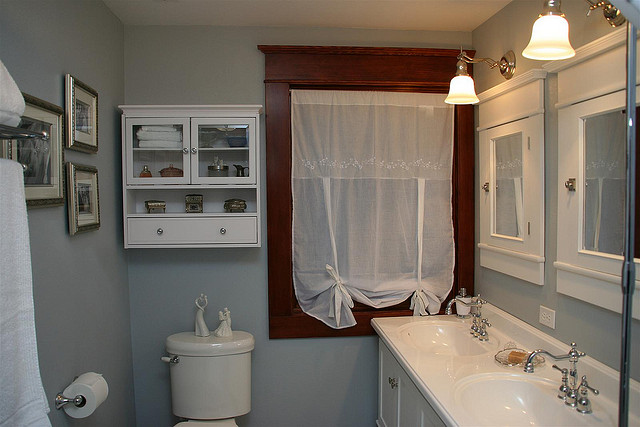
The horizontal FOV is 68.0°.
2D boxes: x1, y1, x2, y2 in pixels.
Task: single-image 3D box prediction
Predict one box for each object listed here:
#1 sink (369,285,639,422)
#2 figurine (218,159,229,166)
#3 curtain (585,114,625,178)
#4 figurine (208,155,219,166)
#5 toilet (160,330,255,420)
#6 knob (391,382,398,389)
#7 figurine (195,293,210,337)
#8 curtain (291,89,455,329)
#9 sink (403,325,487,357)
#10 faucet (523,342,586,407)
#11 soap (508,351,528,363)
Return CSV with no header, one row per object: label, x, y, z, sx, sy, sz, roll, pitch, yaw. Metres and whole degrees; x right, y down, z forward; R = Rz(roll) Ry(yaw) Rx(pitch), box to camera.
sink,0.942,0.974,2.781,0.949,0.847,1.268,-4,4,-13
figurine,-0.664,-0.341,3.156,0.038,0.037,0.040,2,7,25
curtain,1.474,-0.310,2.441,0.201,0.389,0.014,-2,5,7
figurine,-0.714,-0.349,3.143,0.065,0.063,0.026,-4,4,-14
toilet,-0.755,1.070,3.185,0.556,0.436,0.461,0,-3,-8
knob,0.454,1.050,2.900,0.036,0.010,0.028,0,1,18
figurine,-0.829,0.690,3.259,0.101,0.263,0.175,-4,4,-15
curtain,0.326,-0.068,3.312,1.570,2.274,0.176,0,1,-4
sink,0.777,0.818,3.002,0.453,0.126,0.509,5,4,-4
faucet,1.214,0.850,2.460,0.364,0.113,0.400,-27,29,53
soap,1.113,0.800,2.657,0.057,0.017,0.055,0,11,37
